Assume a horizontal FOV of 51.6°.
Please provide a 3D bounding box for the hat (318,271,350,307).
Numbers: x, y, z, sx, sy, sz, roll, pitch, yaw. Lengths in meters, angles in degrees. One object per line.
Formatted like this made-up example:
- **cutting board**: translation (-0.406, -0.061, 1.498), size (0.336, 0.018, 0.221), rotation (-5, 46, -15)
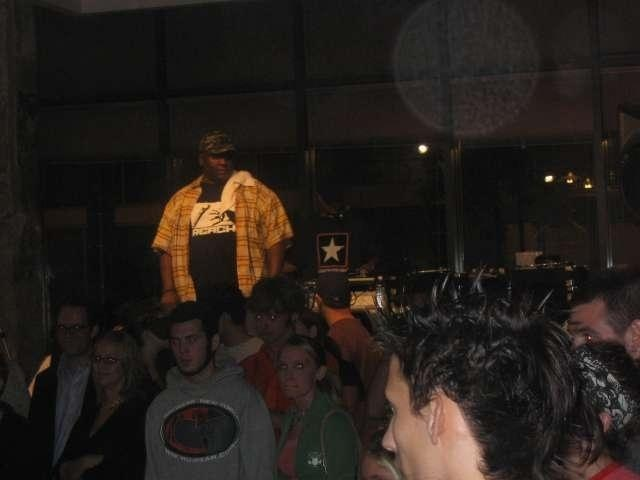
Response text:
- **hat**: translation (0.072, 0.278, 3.604), size (0.145, 0.203, 0.167), rotation (-2, -35, -2)
